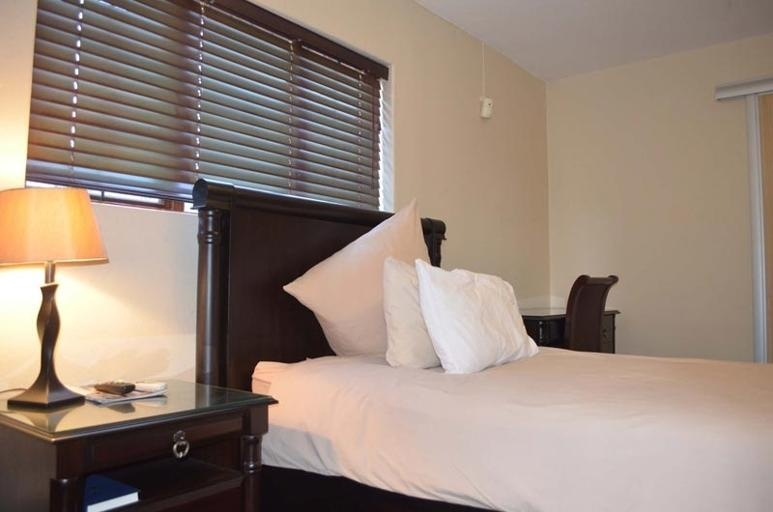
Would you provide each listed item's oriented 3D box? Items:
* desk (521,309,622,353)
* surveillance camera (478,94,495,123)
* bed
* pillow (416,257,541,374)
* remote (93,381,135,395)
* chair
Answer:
[{"bbox_3d":[1.198,0.492,3.792,0.235,0.208,0.428,0,0,39],"label":"desk"},{"bbox_3d":[0.799,-1.161,4.550,0.070,0.168,0.247,5,15,28],"label":"surveillance camera"},{"bbox_3d":[0.239,0.311,2.827,1.758,1.315,1.787,0,3,28],"label":"bed"},{"bbox_3d":[0.396,0.255,2.681,0.377,0.506,0.623,11,19,44],"label":"pillow"},{"bbox_3d":[-1.045,0.507,2.238,0.176,0.043,0.056,4,2,30],"label":"remote"},{"bbox_3d":[1.356,0.386,3.812,0.356,0.546,0.407,3,-14,-33],"label":"chair"}]
